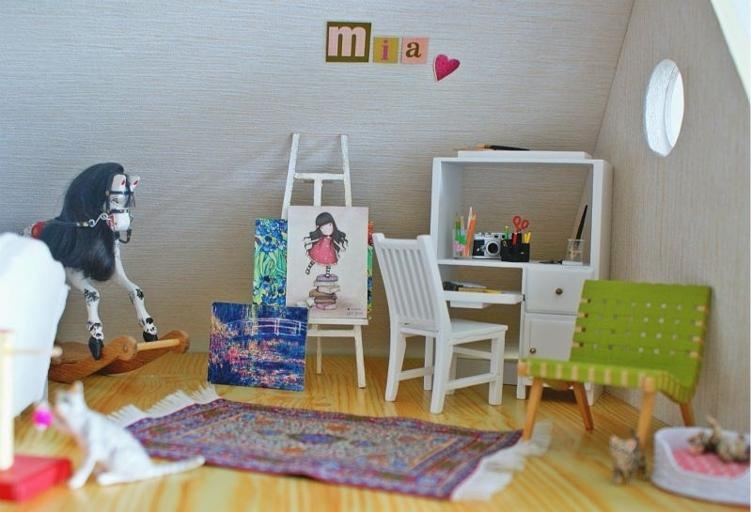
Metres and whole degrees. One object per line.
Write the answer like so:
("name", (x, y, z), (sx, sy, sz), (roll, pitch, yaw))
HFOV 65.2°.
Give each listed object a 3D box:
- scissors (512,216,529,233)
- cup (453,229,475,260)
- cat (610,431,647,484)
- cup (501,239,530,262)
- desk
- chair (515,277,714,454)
("scissors", (1.075, -0.240, 4.332), (0.143, 0.136, 0.014), (9, 12, -26))
("cup", (0.611, -0.096, 4.246), (0.188, 0.292, 0.190), (0, 5, 0))
("cat", (1.208, 0.963, 2.812), (0.151, 0.218, 0.144), (8, 11, 33))
("cup", (0.972, -0.034, 4.092), (0.267, 0.178, 0.136), (1, 2, 3))
("desk", (1.131, 0.158, 4.229), (1.252, 1.878, 0.635), (5, 17, 36))
("chair", (1.399, 0.517, 3.306), (0.766, 0.818, 1.076), (1, 0, 33))
